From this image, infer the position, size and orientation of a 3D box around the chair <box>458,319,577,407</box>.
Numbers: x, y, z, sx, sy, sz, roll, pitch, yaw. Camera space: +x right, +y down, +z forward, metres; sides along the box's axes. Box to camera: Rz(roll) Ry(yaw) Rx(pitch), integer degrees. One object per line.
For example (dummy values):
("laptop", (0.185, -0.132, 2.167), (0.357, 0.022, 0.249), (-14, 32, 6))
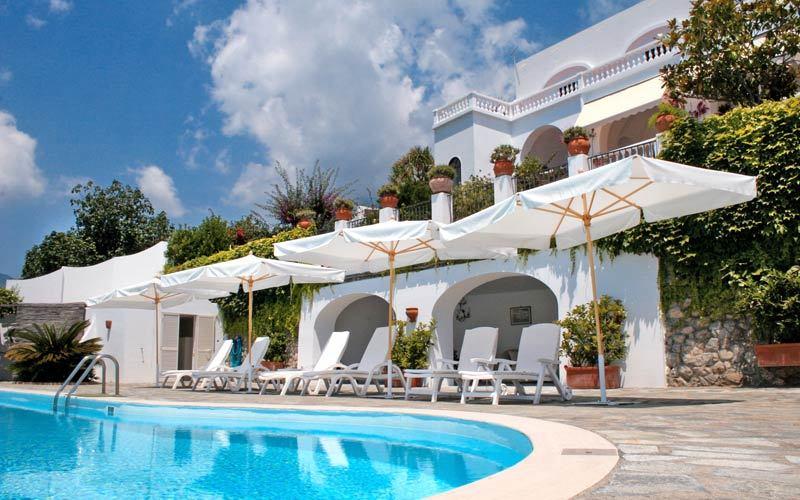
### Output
("chair", (2.662, 2.748, 15.738), (2.356, 2.004, 1.797), (12, -16, -42))

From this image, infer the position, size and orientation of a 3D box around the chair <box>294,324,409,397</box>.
("chair", (-1.171, 2.994, 17.617), (1.662, 1.897, 2.725), (-12, -17, 42))

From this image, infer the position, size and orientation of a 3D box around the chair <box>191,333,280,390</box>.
("chair", (-4.847, 3.473, 19.716), (2.283, 1.641, 1.650), (9, -14, -33))

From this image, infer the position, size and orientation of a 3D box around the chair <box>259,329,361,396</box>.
("chair", (-2.373, 3.245, 18.628), (1.422, 2.030, 2.966), (-13, -19, 43))

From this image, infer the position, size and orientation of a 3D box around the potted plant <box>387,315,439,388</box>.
("potted plant", (0.510, 3.247, 21.497), (1.934, 2.588, 1.694), (0, -5, 13))

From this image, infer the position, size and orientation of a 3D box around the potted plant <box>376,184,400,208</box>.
("potted plant", (-0.421, -1.870, 24.131), (0.733, 0.816, 0.785), (4, -18, -16))

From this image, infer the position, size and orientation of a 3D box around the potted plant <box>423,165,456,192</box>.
("potted plant", (1.438, -2.395, 23.066), (0.841, 0.929, 0.876), (-1, -7, 4))

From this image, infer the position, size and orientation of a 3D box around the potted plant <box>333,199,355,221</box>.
("potted plant", (-2.097, -1.504, 24.911), (0.714, 0.785, 0.722), (-1, -3, -13))
